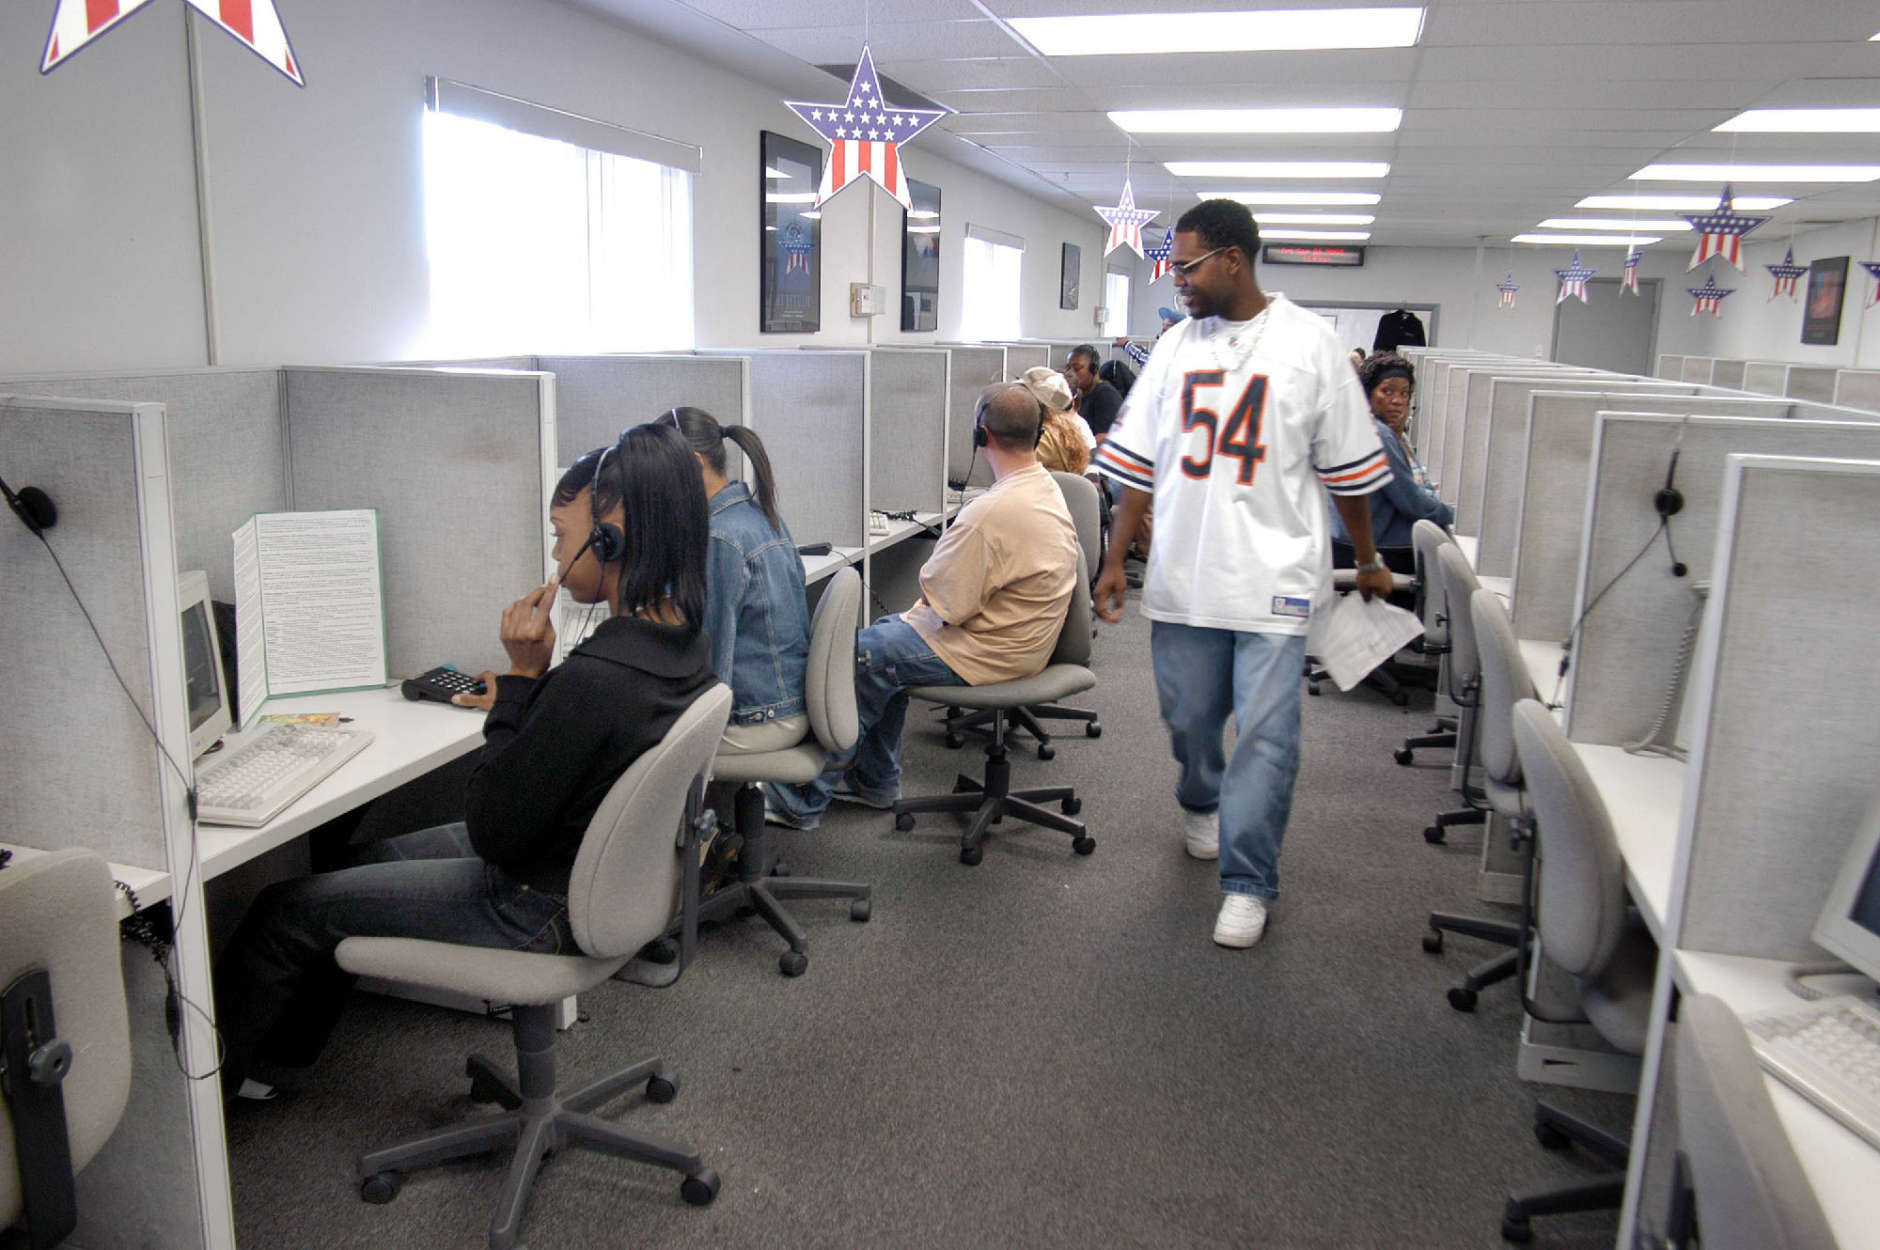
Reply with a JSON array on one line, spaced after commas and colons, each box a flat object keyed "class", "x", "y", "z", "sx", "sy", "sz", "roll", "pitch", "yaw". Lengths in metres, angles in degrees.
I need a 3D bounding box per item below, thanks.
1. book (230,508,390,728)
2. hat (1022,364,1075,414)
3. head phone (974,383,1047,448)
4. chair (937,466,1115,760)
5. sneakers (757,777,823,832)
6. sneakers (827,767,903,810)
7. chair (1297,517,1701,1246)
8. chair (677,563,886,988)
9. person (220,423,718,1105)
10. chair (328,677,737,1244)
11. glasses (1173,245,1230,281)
[{"class": "book", "x": -1.523, "y": -0.038, "z": 3.047, "sx": 0.314, "sy": 0.420, "sz": 0.115, "roll": -4, "pitch": -2, "yaw": -16}, {"class": "hat", "x": 0.502, "y": -1.095, "z": 5.909, "sx": 0.247, "sy": 0.280, "sz": 0.207, "roll": -8, "pitch": 2, "yaw": -2}, {"class": "head phone", "x": 0.207, "y": -0.685, "z": 4.152, "sx": 0.172, "sy": 0.247, "sz": 0.237, "roll": 4, "pitch": 15, "yaw": -6}, {"class": "chair", "x": 0.335, "y": -0.072, "z": 4.823, "sx": 0.596, "sy": 1.018, "sz": 0.613, "roll": 5, "pitch": -4, "yaw": 24}, {"class": "sneakers", "x": -0.473, "y": 0.557, "z": 3.962, "sx": 0.189, "sy": 0.071, "sz": 0.165, "roll": 1, "pitch": -3, "yaw": -33}, {"class": "sneakers", "x": -0.300, "y": 0.566, "z": 4.351, "sx": 0.302, "sy": 0.137, "sz": 0.114, "roll": 7, "pitch": 10, "yaw": 11}, {"class": "chair", "x": 1.391, "y": 0.536, "z": 2.866, "sx": 0.409, "sy": 1.348, "sz": 0.887, "roll": 5, "pitch": 13, "yaw": 24}, {"class": "chair", "x": -0.535, "y": 0.353, "z": 3.696, "sx": 0.666, "sy": 1.083, "sz": 0.684, "roll": 4, "pitch": 5, "yaw": 19}, {"class": "person", "x": -1.103, "y": 0.379, "z": 2.849, "sx": 1.142, "sy": 1.638, "sz": 0.676, "roll": 5, "pitch": 0, "yaw": 9}, {"class": "chair", "x": -0.678, "y": 0.679, "z": 3.161, "sx": 1.025, "sy": 1.376, "sz": 1.048, "roll": 6, "pitch": 5, "yaw": -1}, {"class": "glasses", "x": 0.738, "y": -1.022, "z": 3.549, "sx": 0.105, "sy": 0.036, "sz": 0.105, "roll": -8, "pitch": 5, "yaw": -1}]
